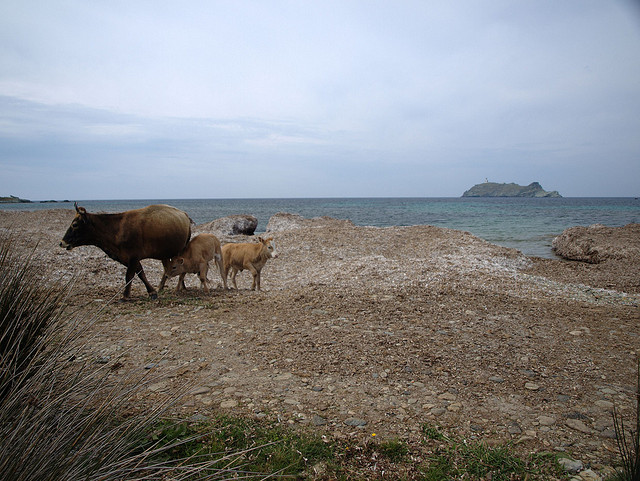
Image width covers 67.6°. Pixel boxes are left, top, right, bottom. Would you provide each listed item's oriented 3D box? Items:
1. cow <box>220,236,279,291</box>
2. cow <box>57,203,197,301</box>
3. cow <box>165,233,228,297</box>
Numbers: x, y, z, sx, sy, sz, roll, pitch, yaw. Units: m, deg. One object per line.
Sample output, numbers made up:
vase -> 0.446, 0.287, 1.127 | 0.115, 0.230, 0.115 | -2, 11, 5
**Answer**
cow -> -1.749, 0.577, 11.698 | 1.961, 1.263, 0.580 | -4, -4, 36
cow -> -3.750, 0.227, 9.589 | 2.369, 1.881, 1.234 | 0, 5, -28
cow -> -2.815, 0.483, 10.860 | 1.007, 1.493, 1.097 | 1, 7, 9
